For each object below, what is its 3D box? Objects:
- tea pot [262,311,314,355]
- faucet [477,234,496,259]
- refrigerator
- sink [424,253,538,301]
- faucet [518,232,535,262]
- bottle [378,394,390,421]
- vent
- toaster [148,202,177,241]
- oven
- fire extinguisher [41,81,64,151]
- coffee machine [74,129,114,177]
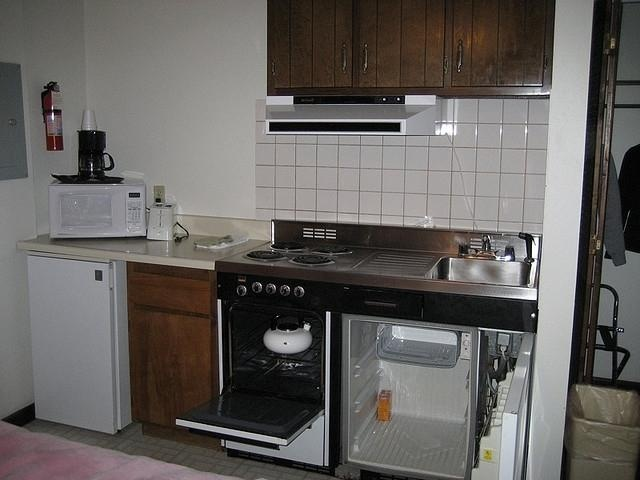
[{"bbox_3d":[-0.174,0.529,2.879,0.267,0.256,0.231,0,8,4],"label":"tea pot"},{"bbox_3d":[0.947,0.044,2.967,0.102,0.125,0.038,5,-26,5],"label":"faucet"},{"bbox_3d":[-1.442,0.565,3.505,0.602,1.114,0.667,2,5,18],"label":"refrigerator"},{"bbox_3d":[0.861,0.194,2.761,0.524,0.150,0.563,3,9,23],"label":"sink"},{"bbox_3d":[1.163,0.035,2.940,0.062,0.150,0.095,-3,8,-15],"label":"faucet"},{"bbox_3d":[0.368,0.946,3.024,0.071,0.170,0.047,0,7,5],"label":"bottle"},{"bbox_3d":[0.225,-0.772,3.367,1.074,0.280,0.856,5,10,17],"label":"vent"},{"bbox_3d":[-1.057,-0.088,3.506,0.176,0.224,0.246,1,-13,-8],"label":"toaster"},{"bbox_3d":[-0.282,0.639,3.078,0.668,1.061,1.145,2,7,20],"label":"oven"},{"bbox_3d":[-1.799,-0.833,3.530,0.129,0.433,0.189,-4,8,-27],"label":"fire extinguisher"},{"bbox_3d":[-1.488,-0.571,3.464,0.191,0.377,0.201,8,13,10],"label":"coffee machine"}]
